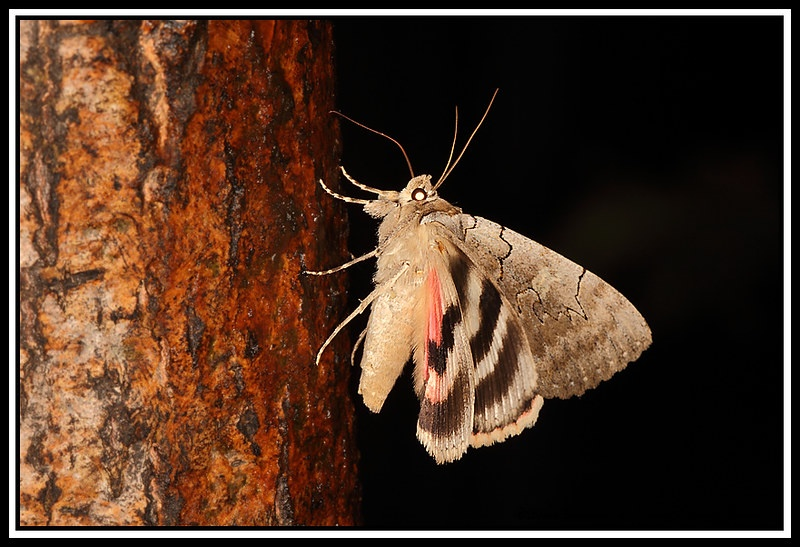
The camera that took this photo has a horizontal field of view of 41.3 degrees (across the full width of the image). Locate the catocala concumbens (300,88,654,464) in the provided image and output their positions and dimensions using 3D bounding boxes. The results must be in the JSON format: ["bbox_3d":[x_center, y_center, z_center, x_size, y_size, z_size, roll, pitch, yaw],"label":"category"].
[{"bbox_3d":[0.502,-0.001,7.235,1.900,2.371,3.174,-1,13,1],"label":"catocala concumbens"}]
